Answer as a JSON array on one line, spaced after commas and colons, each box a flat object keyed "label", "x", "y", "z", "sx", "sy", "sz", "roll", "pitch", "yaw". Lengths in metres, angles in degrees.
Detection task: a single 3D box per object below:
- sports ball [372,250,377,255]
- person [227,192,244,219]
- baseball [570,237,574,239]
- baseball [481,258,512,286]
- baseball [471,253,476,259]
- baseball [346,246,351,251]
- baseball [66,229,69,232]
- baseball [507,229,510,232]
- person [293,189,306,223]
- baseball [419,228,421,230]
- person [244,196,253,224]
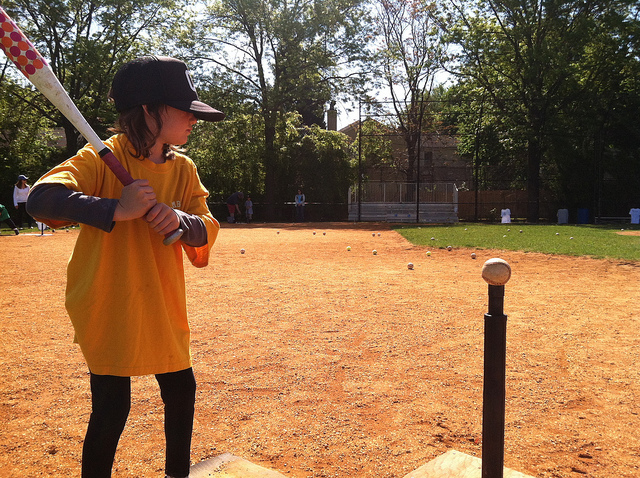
[{"label": "sports ball", "x": 1.230, "y": 0.310, "z": 14.621, "sx": 0.073, "sy": 0.098, "sz": 0.078, "roll": -3, "pitch": 24, "yaw": 2}, {"label": "person", "x": -4.022, "y": -1.613, "z": 30.715, "sx": 0.581, "sy": 0.449, "sz": 1.331, "roll": -7, "pitch": -27, "yaw": -23}, {"label": "baseball", "x": 6.926, "y": -0.029, "z": 17.955, "sx": 0.040, "sy": 0.029, "sz": 0.141, "roll": 29, "pitch": 9, "yaw": 9}, {"label": "baseball", "x": 1.250, "y": 0.247, "z": 4.658, "sx": 0.180, "sy": 0.202, "sz": 0.190, "roll": -13, "pitch": -21, "yaw": 23}, {"label": "baseball", "x": 3.156, "y": 0.342, "z": 13.428, "sx": 0.078, "sy": 0.095, "sz": 0.082, "roll": 3, "pitch": 3, "yaw": 35}, {"label": "baseball", "x": 0.695, "y": 0.223, "z": 15.822, "sx": 0.079, "sy": 0.062, "sz": 0.083, "roll": 0, "pitch": -3, "yaw": -15}, {"label": "baseball", "x": -8.845, "y": -0.305, "z": 22.822, "sx": 0.077, "sy": 0.143, "sz": 0.084, "roll": -1, "pitch": 9, "yaw": -6}, {"label": "baseball", "x": 6.384, "y": -0.300, "z": 22.110, "sx": 0.069, "sy": 0.031, "sz": 0.082, "roll": -19, "pitch": 14, "yaw": -5}, {"label": "person", "x": -0.994, "y": -1.659, "z": 32.198, "sx": 0.573, "sy": 1.611, "sz": 2.040, "roll": 0, "pitch": 2, "yaw": -2}, {"label": "baseball", "x": 3.624, "y": -0.380, "z": 23.679, "sx": 0.058, "sy": 0.067, "sz": 0.061, "roll": -1, "pitch": -2, "yaw": -1}, {"label": "person", "x": -3.376, "y": -1.335, "z": 31.001, "sx": 0.280, "sy": 1.088, "sz": 1.271, "roll": 0, "pitch": 2, "yaw": -8}]
